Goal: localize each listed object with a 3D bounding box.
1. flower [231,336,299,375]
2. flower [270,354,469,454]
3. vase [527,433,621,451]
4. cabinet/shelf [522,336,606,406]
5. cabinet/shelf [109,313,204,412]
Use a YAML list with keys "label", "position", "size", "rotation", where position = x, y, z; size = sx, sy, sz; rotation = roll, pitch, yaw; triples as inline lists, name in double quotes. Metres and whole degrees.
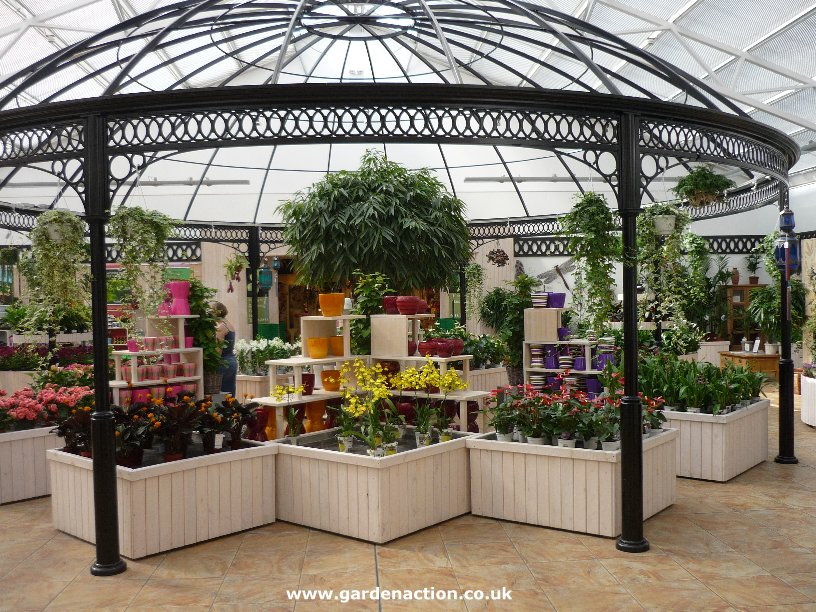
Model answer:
- label: "flower"
  position: [-2.405, 0.776, 11.254]
  size: [0.801, 0.440, 0.867]
  rotation: [-4, -3, 34]
- label: "flower"
  position: [-0.135, 0.946, 6.545]
  size: [1.101, 0.651, 1.116]
  rotation: [2, 7, 22]
- label: "vase"
  position: [1.423, 1.207, 6.069]
  size: [0.801, 0.117, 0.226]
  rotation: [1, 7, 10]
- label: "cabinet/shelf"
  position: [2.025, 0.808, 8.882]
  size: [0.870, 0.849, 0.314]
  rotation: [1, 4, 20]
- label: "cabinet/shelf"
  position: [-2.905, 0.667, 8.073]
  size: [0.337, 0.988, 1.051]
  rotation: [3, 3, 33]
